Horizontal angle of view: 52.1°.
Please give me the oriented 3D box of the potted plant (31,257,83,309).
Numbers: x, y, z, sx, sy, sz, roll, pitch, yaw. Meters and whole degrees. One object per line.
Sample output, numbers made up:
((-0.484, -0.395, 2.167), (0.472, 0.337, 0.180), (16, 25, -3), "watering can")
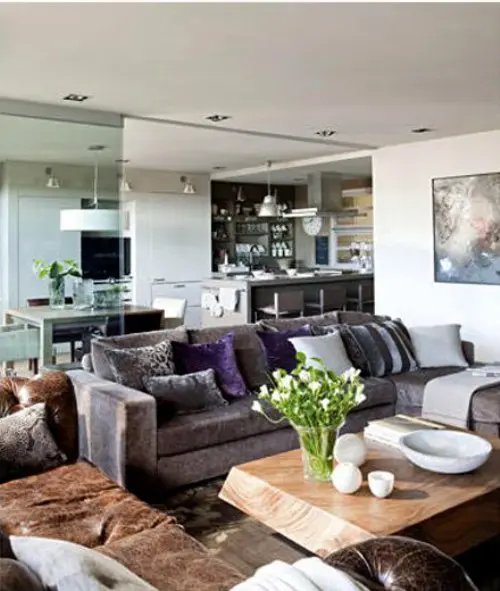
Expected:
((-1.814, -0.147, 4.634), (0.401, 0.398, 0.451), (-3, 4, -43), "potted plant")

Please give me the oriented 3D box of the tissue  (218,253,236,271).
((-0.413, -0.583, 9.129), (0.449, 0.404, 0.415), (-1, 0, -2), "tissue ")

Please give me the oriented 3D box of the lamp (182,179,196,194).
((-1.034, -1.884, 8.772), (0.234, 0.324, 0.770), (-2, 2, -6), "lamp")

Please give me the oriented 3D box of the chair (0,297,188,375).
((-1.587, 0.392, 4.597), (0.614, 0.390, 0.931), (2, 3, 45), "chair")

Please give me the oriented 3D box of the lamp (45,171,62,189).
((-1.742, -1.031, 4.519), (0.140, 0.123, 0.137), (1, 5, 35), "lamp")

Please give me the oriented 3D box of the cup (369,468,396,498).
((0.503, 0.706, 1.927), (0.101, 0.066, 0.094), (0, -5, 0), "cup")

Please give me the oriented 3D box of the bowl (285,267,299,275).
((0.742, -0.384, 8.179), (0.209, 0.125, 0.175), (-3, 7, -21), "bowl")

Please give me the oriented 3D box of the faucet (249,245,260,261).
((0.096, -0.874, 10.451), (0.241, 0.300, 0.103), (7, -4, -41), "faucet")

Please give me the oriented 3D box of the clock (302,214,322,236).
((1.267, -1.419, 10.346), (0.083, 0.370, 0.416), (-1, 6, -41), "clock")
